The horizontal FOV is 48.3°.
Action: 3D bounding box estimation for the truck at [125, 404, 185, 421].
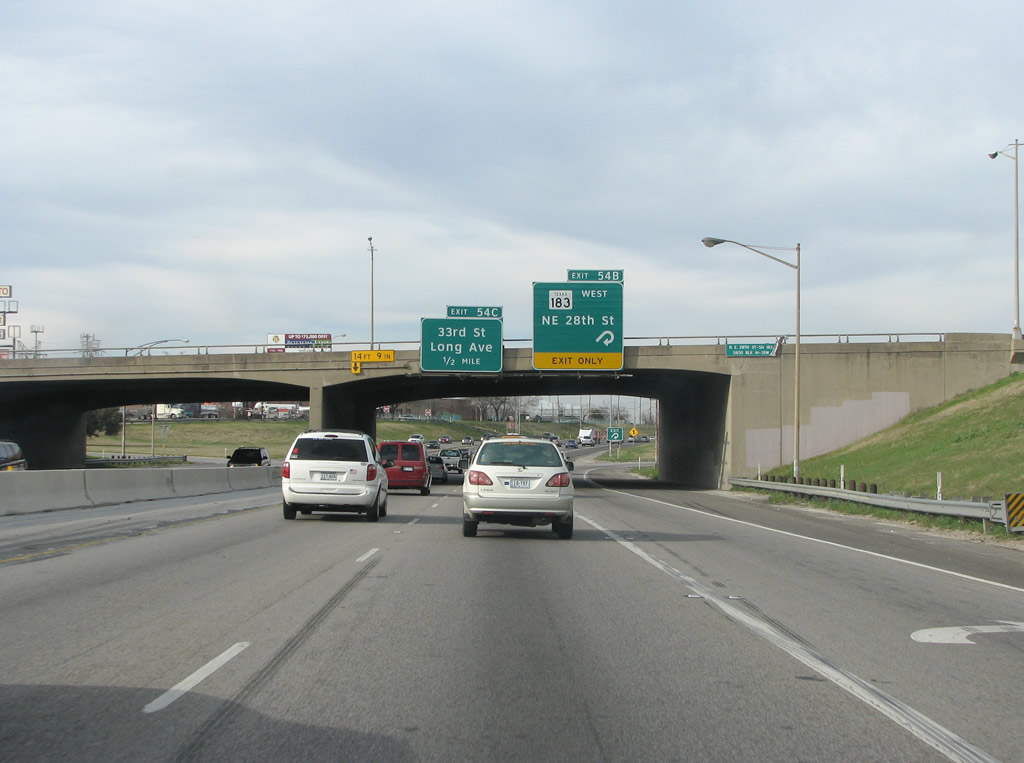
[{"bbox_3d":[-54.605,5.058,175.866,11.603,2.754,3.088,-2,2,15],"label":"truck"}]
